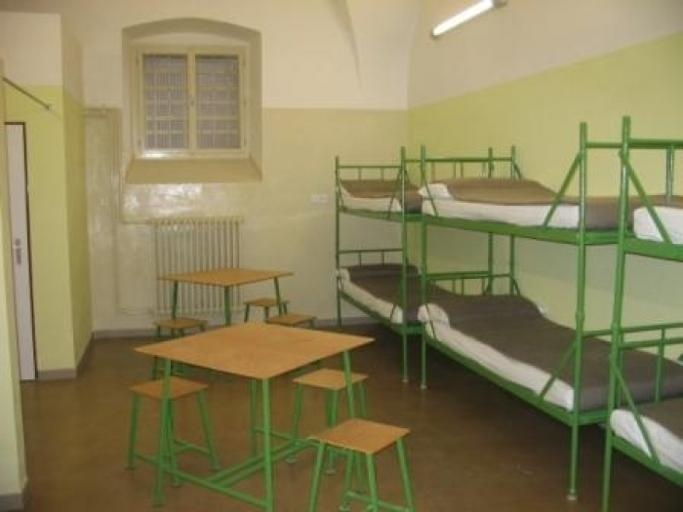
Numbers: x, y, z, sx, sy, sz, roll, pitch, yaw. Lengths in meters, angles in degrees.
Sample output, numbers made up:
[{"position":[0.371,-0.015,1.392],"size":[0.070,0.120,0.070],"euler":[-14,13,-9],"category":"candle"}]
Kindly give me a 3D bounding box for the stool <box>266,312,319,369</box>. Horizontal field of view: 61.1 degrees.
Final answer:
[{"position":[-0.575,0.848,6.204],"size":[0.409,0.376,0.338],"euler":[9,13,26],"category":"stool"}]

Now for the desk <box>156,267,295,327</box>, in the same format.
[{"position":[-1.179,0.243,6.169],"size":[0.899,0.470,0.988],"euler":[5,8,37],"category":"desk"}]

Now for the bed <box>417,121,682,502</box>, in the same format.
[{"position":[1.586,0.452,4.320],"size":[1.127,2.490,2.603],"euler":[-2,9,-13],"category":"bed"}]

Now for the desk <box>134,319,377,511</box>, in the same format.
[{"position":[-0.630,1.086,3.829],"size":[1.240,1.082,1.027],"euler":[4,8,34],"category":"desk"}]

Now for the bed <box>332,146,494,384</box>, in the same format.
[{"position":[0.710,-0.170,6.596],"size":[0.968,1.764,2.425],"euler":[-2,6,-16],"category":"bed"}]

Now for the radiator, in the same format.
[{"position":[-1.779,0.111,7.059],"size":[1.377,1.612,0.276],"euler":[-1,4,-14],"category":"radiator"}]
